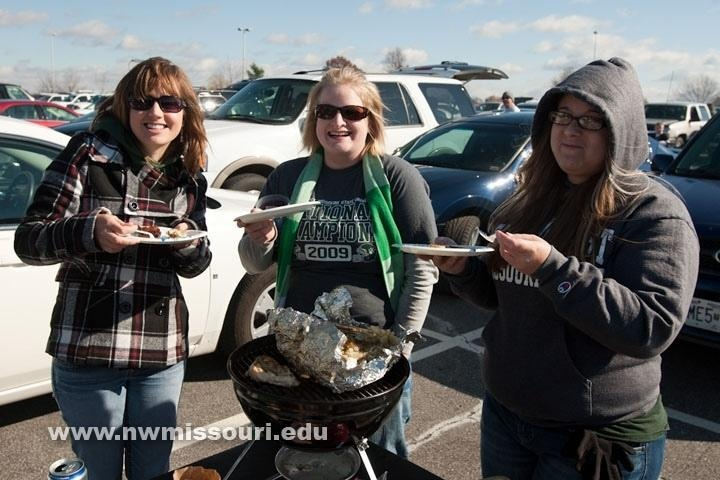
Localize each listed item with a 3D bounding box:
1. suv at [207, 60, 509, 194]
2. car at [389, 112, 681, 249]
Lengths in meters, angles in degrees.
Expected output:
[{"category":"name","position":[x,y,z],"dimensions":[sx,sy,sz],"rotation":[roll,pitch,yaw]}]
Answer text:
[{"category":"suv","position":[-0.318,-1.838,8.634],"dimensions":[5.286,2.064,2.794],"rotation":[-3,5,-39]},{"category":"car","position":[2.412,-0.870,7.542],"dimensions":[4.076,1.335,1.893],"rotation":[-6,9,-34]}]
